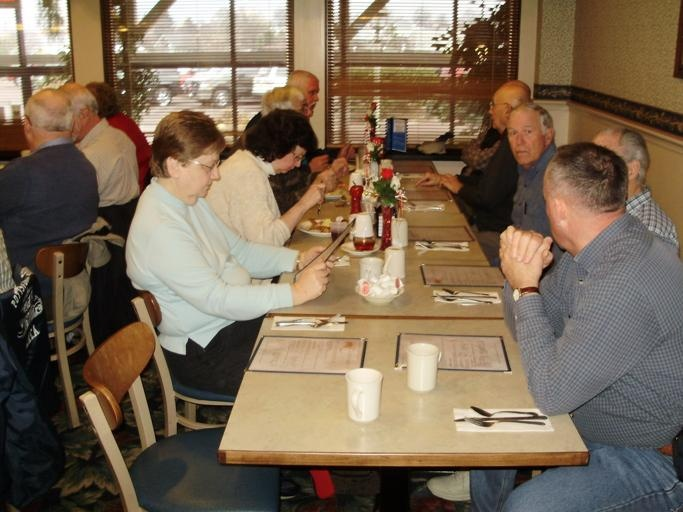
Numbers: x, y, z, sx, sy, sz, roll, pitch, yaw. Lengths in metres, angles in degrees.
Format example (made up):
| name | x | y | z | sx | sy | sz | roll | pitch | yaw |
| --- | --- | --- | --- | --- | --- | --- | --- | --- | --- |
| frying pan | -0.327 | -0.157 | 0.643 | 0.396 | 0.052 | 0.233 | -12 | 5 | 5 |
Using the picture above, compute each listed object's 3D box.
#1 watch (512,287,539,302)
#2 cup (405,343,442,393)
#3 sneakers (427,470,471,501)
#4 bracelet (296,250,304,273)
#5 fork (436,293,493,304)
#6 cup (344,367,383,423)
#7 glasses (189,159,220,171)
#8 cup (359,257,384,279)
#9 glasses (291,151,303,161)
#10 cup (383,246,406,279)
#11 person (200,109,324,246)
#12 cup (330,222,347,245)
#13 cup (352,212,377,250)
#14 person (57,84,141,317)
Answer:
| name | x | y | z | sx | sy | sz | roll | pitch | yaw |
| --- | --- | --- | --- | --- | --- | --- | --- | --- | --- |
| watch | 0.585 | 0.115 | 1.732 | 0.071 | 0.043 | 0.073 | 0 | -15 | -1 |
| cup | 0.252 | 0.329 | 1.601 | 0.088 | 0.120 | 0.139 | 2 | 15 | 10 |
| sneakers | 0.494 | 1.040 | 2.431 | 0.207 | 0.062 | 0.160 | -4 | 23 | 16 |
| bracelet | -0.205 | 0.034 | 2.545 | 0.026 | 0.075 | 0.055 | 7 | 11 | 10 |
| fork | 0.499 | 0.171 | 2.158 | 0.254 | 0.027 | 0.075 | -1 | 28 | 3 |
| cup | 0.068 | 0.367 | 1.474 | 0.087 | 0.113 | 0.137 | 7 | 23 | 14 |
| glasses | -0.537 | -0.377 | 2.179 | 0.057 | 0.052 | 0.150 | 4 | 19 | 17 |
| cup | 0.119 | 0.047 | 2.262 | 0.083 | 0.087 | 0.090 | 1 | 5 | 0 |
| glasses | -0.255 | -0.567 | 3.002 | 0.043 | 0.015 | 0.062 | -1 | -10 | -1 |
| cup | 0.228 | 0.031 | 2.347 | 0.087 | 0.142 | 0.141 | -4 | 11 | -20 |
| person | -0.447 | -0.523 | 3.169 | 0.723 | 1.049 | 0.693 | 0 | 51 | -14 |
| cup | -0.022 | -0.124 | 2.900 | 0.106 | 0.127 | 0.091 | 2 | 7 | 7 |
| cup | 0.085 | -0.141 | 2.738 | 0.164 | 0.232 | 0.164 | 1 | 15 | 0 |
| person | -2.054 | -0.495 | 4.563 | 0.731 | 2.193 | 0.690 | 4 | 45 | -17 |
